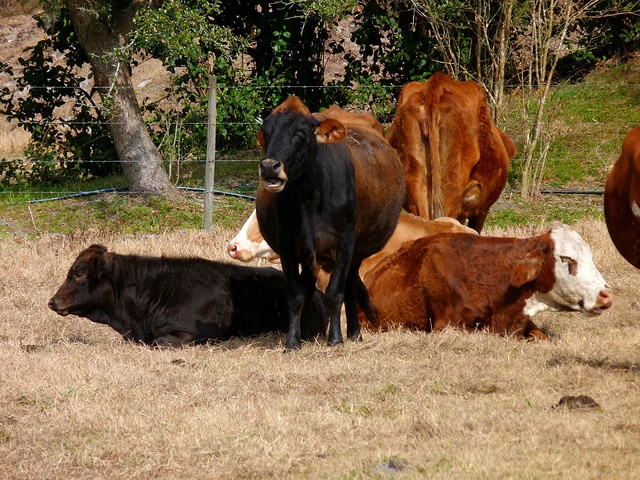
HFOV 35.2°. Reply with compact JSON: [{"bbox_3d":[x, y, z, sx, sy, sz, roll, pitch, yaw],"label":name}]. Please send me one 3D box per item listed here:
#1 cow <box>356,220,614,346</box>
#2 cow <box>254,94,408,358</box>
[{"bbox_3d":[1.943,0.434,11.502,2.787,1.510,1.190,-10,12,18],"label":"cow"},{"bbox_3d":[-0.008,-0.066,11.195,1.453,2.652,3.515,-1,-2,12],"label":"cow"}]
